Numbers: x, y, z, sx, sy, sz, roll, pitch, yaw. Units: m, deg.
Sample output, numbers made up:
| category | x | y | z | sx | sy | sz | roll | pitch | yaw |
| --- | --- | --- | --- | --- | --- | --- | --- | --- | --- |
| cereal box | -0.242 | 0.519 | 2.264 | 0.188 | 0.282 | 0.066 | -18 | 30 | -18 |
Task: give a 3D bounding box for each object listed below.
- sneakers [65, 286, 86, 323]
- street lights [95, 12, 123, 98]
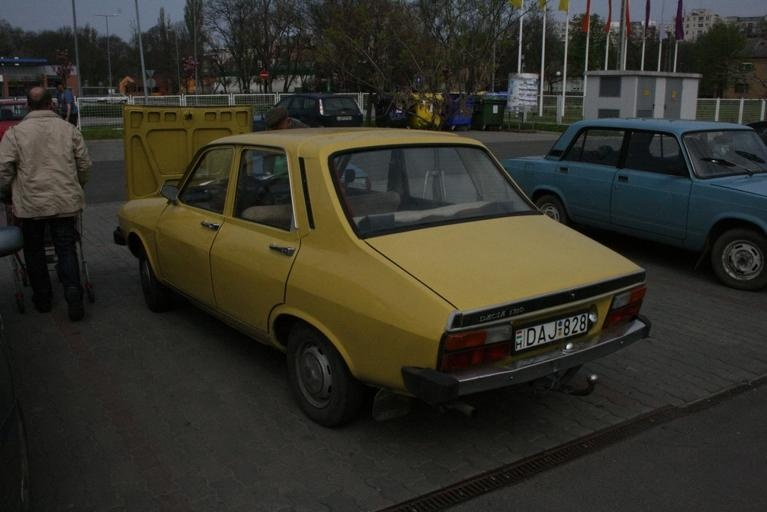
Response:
| category | x | y | z | sx | sy | sz | roll | pitch | yaw |
| --- | --- | --- | --- | --- | --- | --- | --- | --- | --- |
| sneakers | -3.577 | 0.541 | 5.738 | 0.163 | 0.510 | 0.210 | -9 | 0 | -19 |
| street lights | -5.759 | -4.492 | 10.472 | 0.345 | 1.167 | 0.217 | -15 | 27 | -28 |
